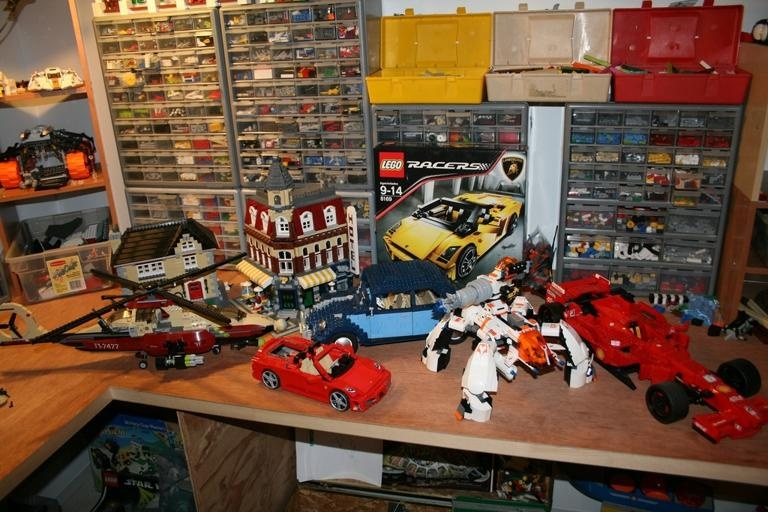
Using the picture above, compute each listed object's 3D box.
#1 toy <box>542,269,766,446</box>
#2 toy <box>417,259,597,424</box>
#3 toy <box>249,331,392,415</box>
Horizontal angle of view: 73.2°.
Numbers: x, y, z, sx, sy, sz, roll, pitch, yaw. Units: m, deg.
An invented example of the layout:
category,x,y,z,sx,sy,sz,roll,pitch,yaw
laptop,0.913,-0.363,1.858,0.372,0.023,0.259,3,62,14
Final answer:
category,x,y,z,sx,sy,sz,roll,pitch,yaw
toy,1.898,0.684,3.792,0.721,0.429,1.551,-18,40,-32
toy,0.867,0.547,3.812,1.276,0.658,1.152,-3,26,21
toy,-0.480,0.806,3.731,0.888,0.269,0.477,13,34,17
